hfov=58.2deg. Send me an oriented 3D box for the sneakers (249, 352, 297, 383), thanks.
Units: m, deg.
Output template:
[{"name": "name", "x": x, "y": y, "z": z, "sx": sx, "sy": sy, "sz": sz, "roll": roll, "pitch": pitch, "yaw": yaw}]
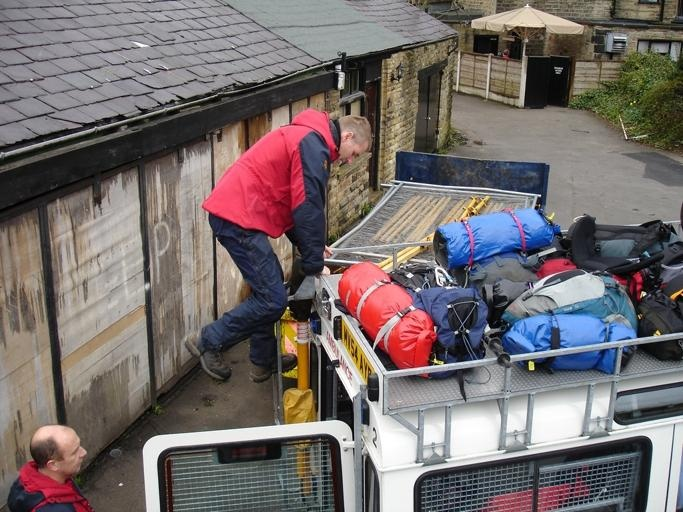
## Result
[{"name": "sneakers", "x": -0.605, "y": 0.981, "z": 5.456, "sx": 0.425, "sy": 0.206, "sz": 0.150, "roll": -29, "pitch": 30, "yaw": -3}]
